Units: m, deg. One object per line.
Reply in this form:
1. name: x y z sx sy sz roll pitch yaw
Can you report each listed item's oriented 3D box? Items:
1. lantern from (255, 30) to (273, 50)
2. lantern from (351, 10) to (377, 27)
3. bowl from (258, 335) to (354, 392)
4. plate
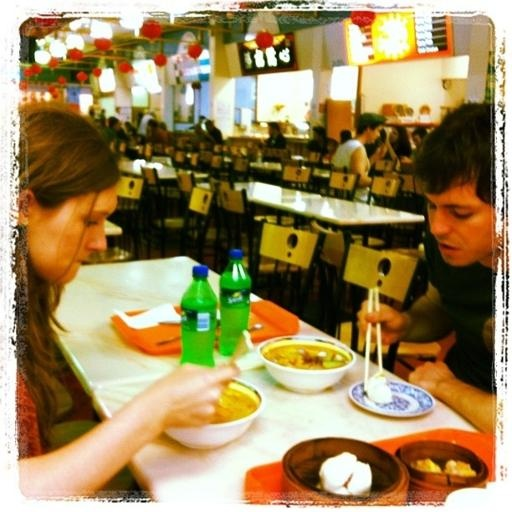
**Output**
1. lantern: 0.184 -4.958 10.126 0.337 0.408 0.506 -3 10 -7
2. lantern: 1.964 -4.457 8.256 0.422 0.242 0.798 1 11 15
3. bowl: 0.136 0.295 1.181 0.233 0.100 0.244 0 7 0
4. plate: 0.333 0.344 1.068 0.092 0.017 0.095 12 21 26
